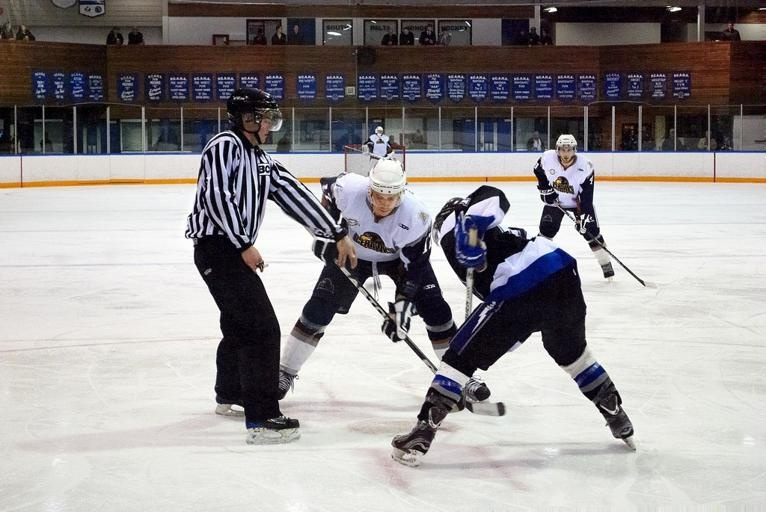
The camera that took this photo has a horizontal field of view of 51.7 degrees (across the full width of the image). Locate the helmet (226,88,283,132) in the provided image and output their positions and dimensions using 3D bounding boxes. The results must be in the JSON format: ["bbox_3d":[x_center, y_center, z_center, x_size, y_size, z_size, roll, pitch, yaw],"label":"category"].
[{"bbox_3d":[-0.635,-0.704,3.806,0.300,0.177,0.225,6,17,3],"label":"helmet"}]

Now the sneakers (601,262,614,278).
[{"bbox_3d":[2.057,0.127,7.273,0.090,0.077,0.133,-9,37,-8],"label":"sneakers"}]

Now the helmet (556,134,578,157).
[{"bbox_3d":[1.841,-1.119,7.948,0.185,0.198,0.232,1,8,8],"label":"helmet"}]

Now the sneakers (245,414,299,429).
[{"bbox_3d":[-0.524,0.772,3.765,0.246,0.077,0.080,-1,1,-12],"label":"sneakers"}]

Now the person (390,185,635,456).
[{"bbox_3d":[0.572,0.294,3.597,1.101,1.229,0.313,-2,9,-7],"label":"person"}]

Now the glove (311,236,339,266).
[{"bbox_3d":[-0.298,-0.025,4.140,0.137,0.121,0.156,9,-17,-8],"label":"glove"}]

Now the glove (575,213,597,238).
[{"bbox_3d":[1.942,-0.298,7.658,0.186,0.210,0.105,-15,-12,-12],"label":"glove"}]

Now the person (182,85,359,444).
[{"bbox_3d":[-0.605,0.033,3.819,0.529,1.663,0.524,7,12,41],"label":"person"}]

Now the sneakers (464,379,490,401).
[{"bbox_3d":[0.489,0.707,4.173,0.080,0.066,0.177,-4,8,-5],"label":"sneakers"}]

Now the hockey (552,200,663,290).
[{"bbox_3d":[2.275,-0.114,8.007,0.226,0.083,1.724,-18,44,-26],"label":"hockey"}]
